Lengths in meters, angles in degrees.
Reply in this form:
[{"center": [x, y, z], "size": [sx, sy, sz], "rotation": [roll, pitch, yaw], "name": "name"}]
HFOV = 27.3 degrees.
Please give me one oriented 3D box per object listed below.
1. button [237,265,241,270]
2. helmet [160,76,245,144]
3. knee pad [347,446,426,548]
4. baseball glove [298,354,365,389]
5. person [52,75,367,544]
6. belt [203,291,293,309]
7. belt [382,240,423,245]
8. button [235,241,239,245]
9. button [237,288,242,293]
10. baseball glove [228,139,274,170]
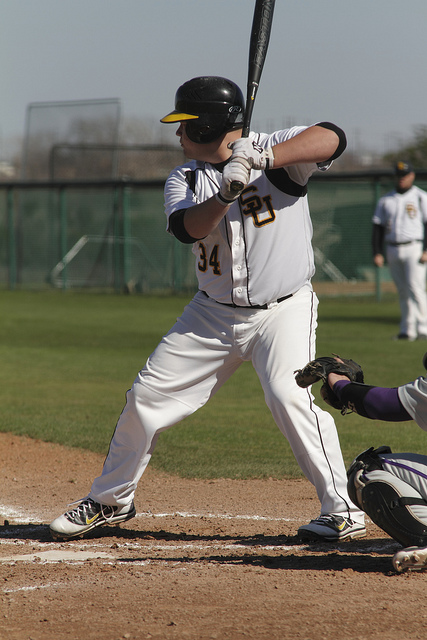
[{"center": [0.080, -0.167, 2.808], "size": [0.011, 0.014, 0.003], "rotation": [4, 3, 19], "name": "button"}, {"center": [-0.034, -0.701, 2.912], "size": [0.297, 0.218, 0.209], "rotation": [1, 22, 1], "name": "helmet"}, {"center": [0.496, 0.504, 2.493], "size": [0.114, 0.196, 0.236], "rotation": [-4, 1, -27], "name": "knee pad"}, {"center": [0.320, 0.152, 2.437], "size": [0.149, 0.079, 0.091], "rotation": [-4, -12, -21], "name": "baseball glove"}, {"center": [-0.004, -0.029, 2.903], "size": [0.919, 1.215, 0.489], "rotation": [-2, 2, 41], "name": "person"}, {"center": [0.096, -0.066, 2.885], "size": [0.306, 0.047, 0.112], "rotation": [-2, 2, 33], "name": "belt"}, {"center": [1.929, -0.788, 8.953], "size": [0.384, 0.041, 0.166], "rotation": [-2, 1, 27], "name": "belt"}, {"center": [0.074, -0.248, 2.809], "size": [0.012, 0.012, 0.003], "rotation": [-4, -11, 3], "name": "button"}, {"center": [0.083, -0.094, 2.801], "size": [0.016, 0.011, 0.001], "rotation": [-2, 1, 27], "name": "button"}, {"center": [0.111, -0.487, 2.590], "size": [0.110, 0.081, 0.050], "rotation": [21, 44, -2], "name": "baseball glove"}]
